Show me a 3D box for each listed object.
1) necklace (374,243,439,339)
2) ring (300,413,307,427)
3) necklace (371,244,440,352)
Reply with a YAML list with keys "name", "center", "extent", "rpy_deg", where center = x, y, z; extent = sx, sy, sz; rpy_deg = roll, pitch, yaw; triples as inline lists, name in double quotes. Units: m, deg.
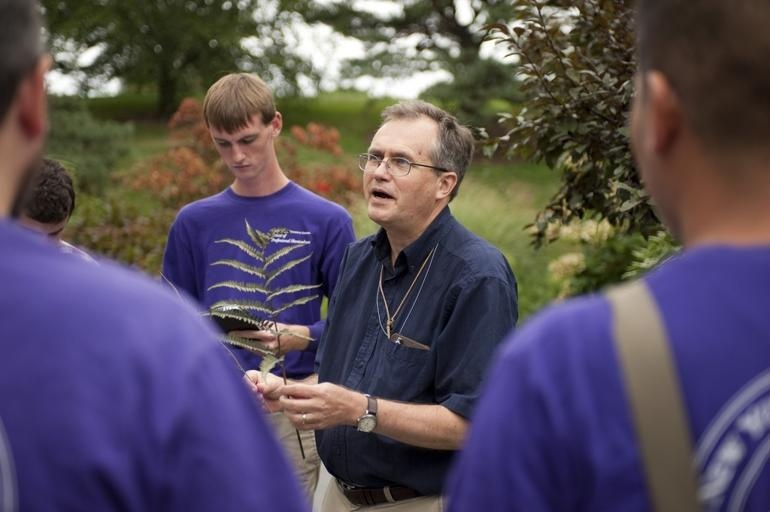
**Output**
- name: "necklace"
  center: [0.070, 0.177, 4.762]
  extent: [0.099, 0.366, 0.312]
  rpy_deg: [30, -21, -21]
- name: "ring"
  center: [-0.318, 0.649, 4.468]
  extent: [0.025, 0.039, 0.034]
  rpy_deg: [-1, -5, 1]
- name: "necklace"
  center: [0.077, 0.181, 4.760]
  extent: [0.097, 0.380, 0.357]
  rpy_deg: [31, -20, -18]
